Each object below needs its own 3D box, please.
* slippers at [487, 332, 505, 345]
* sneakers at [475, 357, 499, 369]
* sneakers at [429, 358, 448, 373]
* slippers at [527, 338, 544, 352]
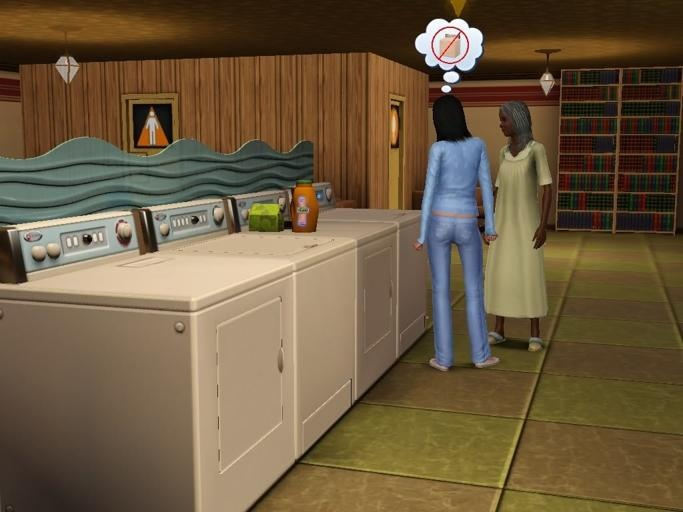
[{"bbox_3d":[1.407,0.723,4.366,0.249,0.102,0.077,-6,11,-33],"label":"slippers"},{"bbox_3d":[1.142,0.822,3.801,0.196,0.086,0.081,-7,10,-34],"label":"sneakers"},{"bbox_3d":[0.741,0.837,3.713,0.134,0.058,0.059,2,6,38],"label":"sneakers"},{"bbox_3d":[1.664,0.745,4.132,0.180,0.108,0.090,-3,10,-15],"label":"slippers"}]
